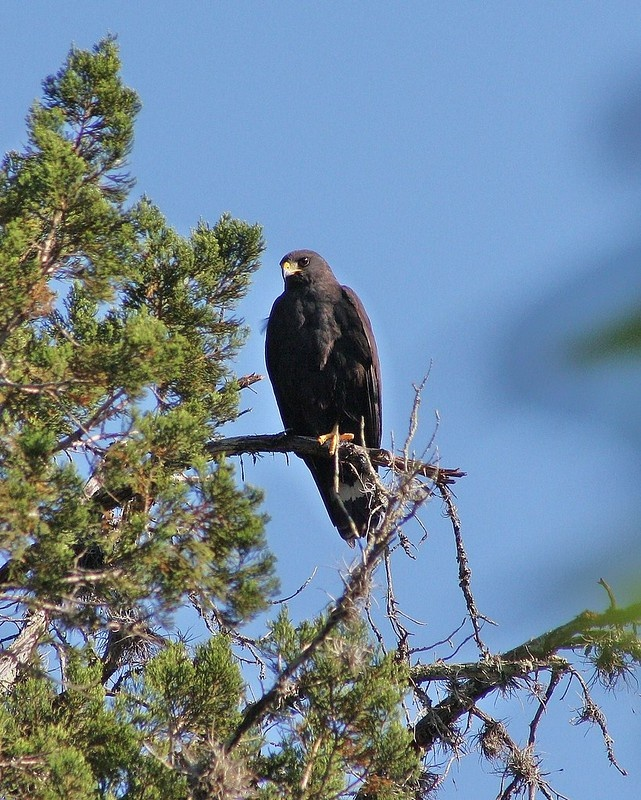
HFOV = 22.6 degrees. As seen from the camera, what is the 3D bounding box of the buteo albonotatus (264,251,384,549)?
[{"bbox_3d":[0.055,-0.017,9.271,0.482,1.088,1.403,-9,-63,8],"label":"buteo albonotatus"}]
